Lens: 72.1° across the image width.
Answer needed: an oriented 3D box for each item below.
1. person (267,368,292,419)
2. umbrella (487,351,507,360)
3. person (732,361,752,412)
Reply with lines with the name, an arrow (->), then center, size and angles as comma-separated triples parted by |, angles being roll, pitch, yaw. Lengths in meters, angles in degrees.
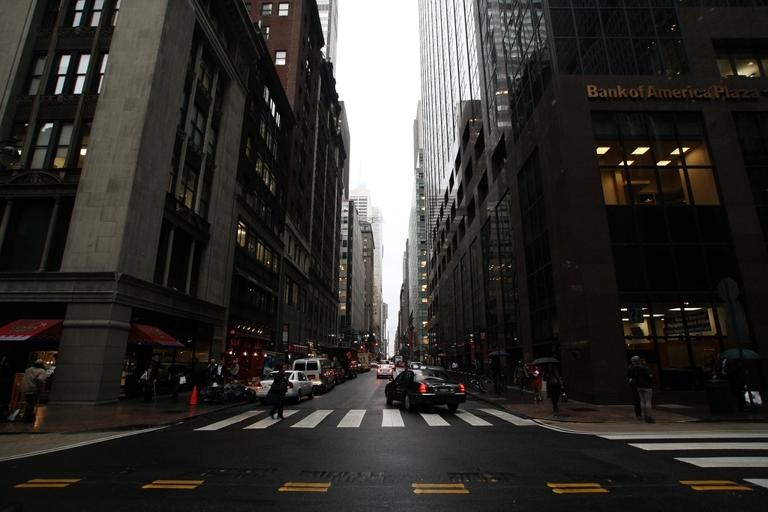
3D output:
person -> -5.331, 6.992, 26.658 | 0.873, 2.537, 1.516 | -1, 3, -8
umbrella -> 7.623, 6.575, 35.474 | 0.944, 0.626, 1.704 | 0, 3, 1
person -> 17.952, 6.462, 26.658 | 0.767, 2.397, 1.386 | 3, 4, 44
